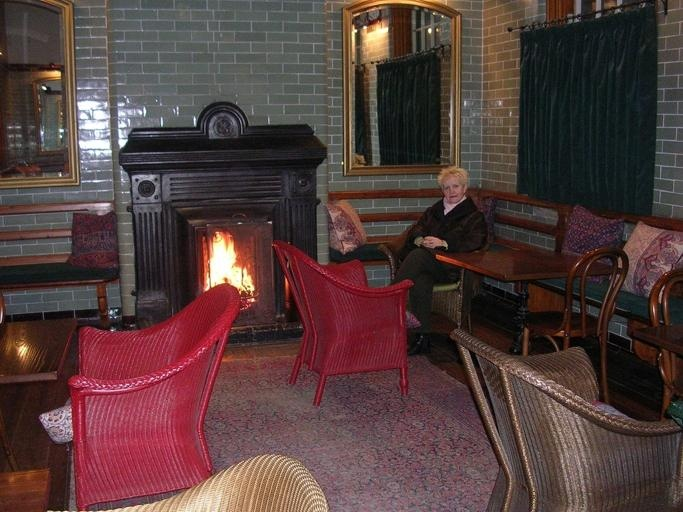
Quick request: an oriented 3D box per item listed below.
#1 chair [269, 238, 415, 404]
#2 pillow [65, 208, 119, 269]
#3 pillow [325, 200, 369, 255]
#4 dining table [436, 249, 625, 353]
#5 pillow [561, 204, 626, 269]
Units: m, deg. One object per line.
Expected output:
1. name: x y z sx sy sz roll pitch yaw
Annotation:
1. chair: 0.042 0.387 4.262 1.168 1.424 1.209 -5 9 -21
2. pillow: -2.714 -0.174 5.589 0.708 0.780 0.109 -1 0 -6
3. pillow: 0.034 -0.344 6.119 0.180 0.576 0.556 -20 -8 41
4. dining table: 1.407 0.056 4.219 1.072 0.622 1.028 -6 22 -10
5. pillow: 2.480 -0.243 5.010 0.188 0.599 0.614 22 -6 -35
